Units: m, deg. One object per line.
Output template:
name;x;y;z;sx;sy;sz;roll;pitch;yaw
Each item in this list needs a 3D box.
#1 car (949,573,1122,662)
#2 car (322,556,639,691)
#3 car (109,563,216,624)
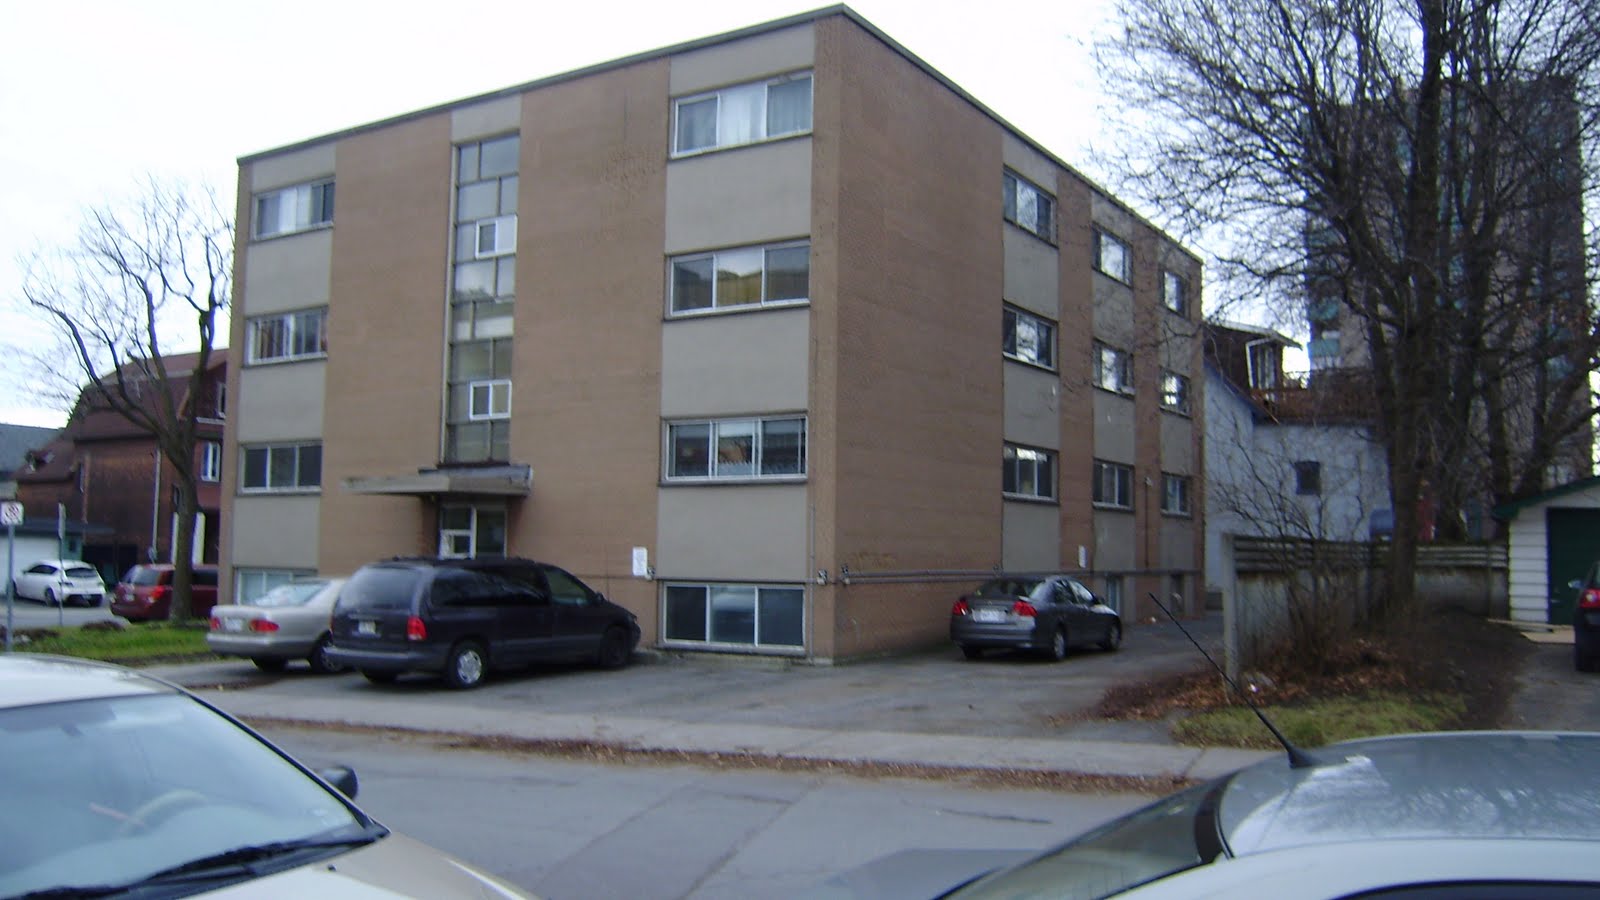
car;5.839;4.174;30.463;4.118;2.037;1.635;7;-12;-39
car;-6.616;3.542;27.034;2.723;1.995;5.441;-6;-6;41
car;-21.291;4.796;41.690;4.326;2.030;1.553;-8;-12;33
